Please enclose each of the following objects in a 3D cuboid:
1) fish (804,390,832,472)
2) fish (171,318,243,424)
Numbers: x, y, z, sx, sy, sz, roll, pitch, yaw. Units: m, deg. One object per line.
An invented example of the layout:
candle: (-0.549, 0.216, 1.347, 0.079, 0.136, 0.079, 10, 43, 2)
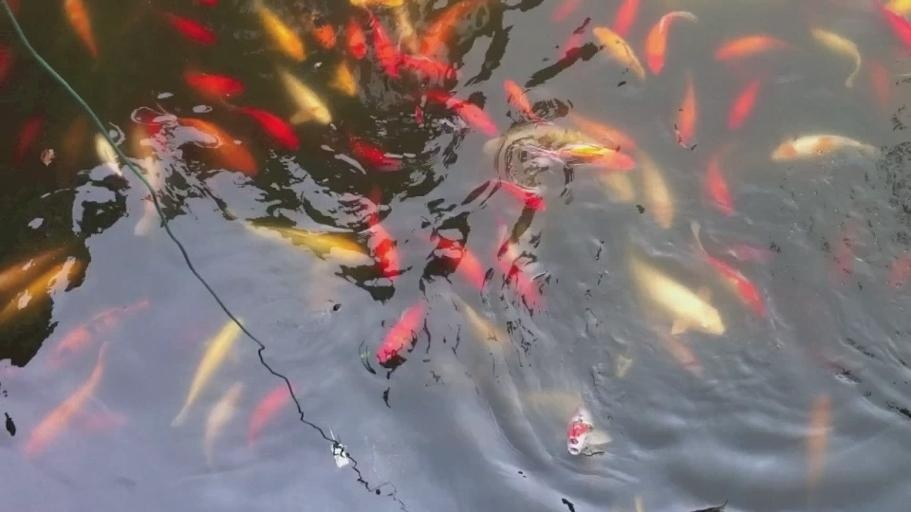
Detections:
fish: (2.438, 1.194, 7.109, 0.118, 0.553, 0.142, 7, -11, 22)
fish: (-1.703, 0.837, 7.280, 0.139, 0.647, 0.270, 35, -7, -9)
